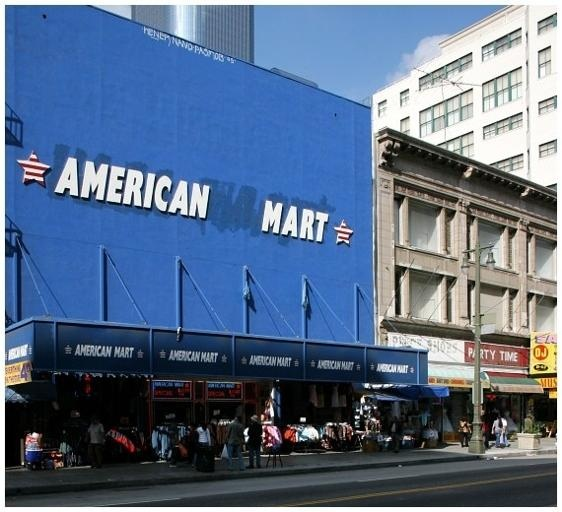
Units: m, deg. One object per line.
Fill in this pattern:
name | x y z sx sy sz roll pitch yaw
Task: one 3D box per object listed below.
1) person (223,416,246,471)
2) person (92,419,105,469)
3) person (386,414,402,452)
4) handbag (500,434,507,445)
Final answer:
person | -1.814 7.408 48.644 0.661 2.305 0.683 -1 -31 0
person | -7.160 7.297 48.599 0.542 1.819 0.608 3 -12 -11
person | 5.199 8.118 56.809 0.583 1.782 1.786 -1 -14 5
handbag | 10.542 8.733 59.268 0.287 0.497 0.786 -2 -15 9
